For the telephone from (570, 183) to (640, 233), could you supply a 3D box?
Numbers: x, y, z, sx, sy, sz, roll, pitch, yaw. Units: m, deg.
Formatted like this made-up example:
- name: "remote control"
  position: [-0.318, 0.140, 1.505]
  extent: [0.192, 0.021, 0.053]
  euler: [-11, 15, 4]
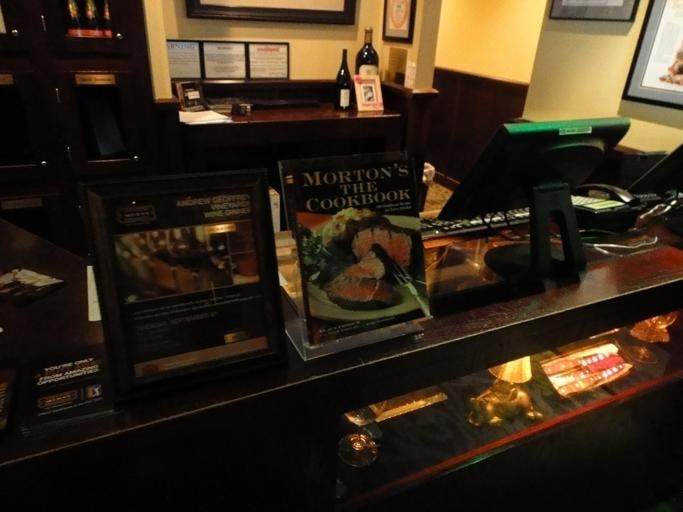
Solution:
- name: "telephone"
  position: [0.970, -0.208, 1.861]
  extent: [0.196, 0.116, 0.259]
  euler: [-8, 28, -4]

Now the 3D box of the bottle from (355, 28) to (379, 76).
- name: "bottle"
  position: [0.191, -1.569, 3.773]
  extent: [0.161, 0.336, 0.247]
  euler: [-1, 33, -2]

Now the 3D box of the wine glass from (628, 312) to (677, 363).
- name: "wine glass"
  position: [1.180, 0.306, 1.868]
  extent: [0.269, 0.133, 0.049]
  euler: [-13, 41, 22]

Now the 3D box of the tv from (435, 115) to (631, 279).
- name: "tv"
  position: [0.666, -0.221, 1.648]
  extent: [0.555, 0.510, 0.288]
  euler: [-11, 30, -25]

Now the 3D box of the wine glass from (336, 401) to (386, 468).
- name: "wine glass"
  position: [0.064, 0.542, 1.511]
  extent: [0.153, 0.234, 0.077]
  euler: [-13, 35, -20]
